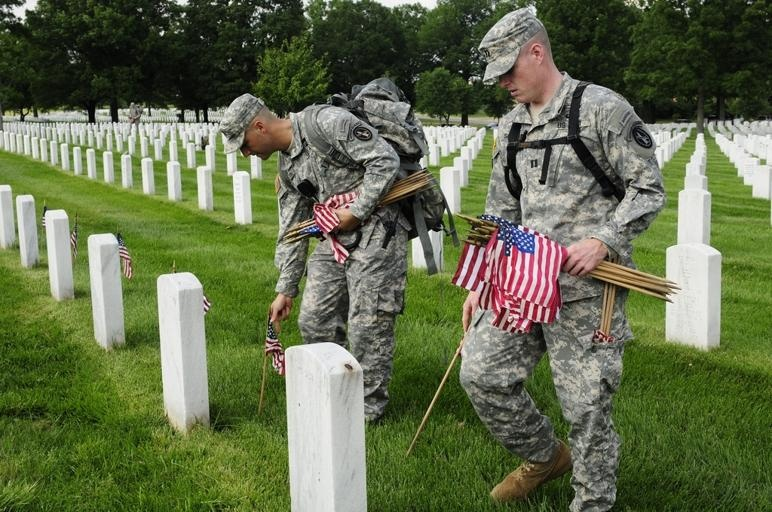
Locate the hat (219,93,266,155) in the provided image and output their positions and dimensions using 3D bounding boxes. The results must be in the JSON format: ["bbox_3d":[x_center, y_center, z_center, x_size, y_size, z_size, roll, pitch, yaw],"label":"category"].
[{"bbox_3d":[-1.357,-1.244,8.082,0.426,0.562,0.268,4,6,-4],"label":"hat"}]

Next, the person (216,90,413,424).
[{"bbox_3d":[-0.604,0.062,8.278,1.561,3.069,0.607,5,6,7],"label":"person"}]

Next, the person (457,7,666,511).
[{"bbox_3d":[1.423,0.096,7.052,1.471,4.164,0.505,6,6,15],"label":"person"}]

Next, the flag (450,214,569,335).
[{"bbox_3d":[1.019,0.132,6.936,0.923,0.950,0.414,35,25,29],"label":"flag"}]
